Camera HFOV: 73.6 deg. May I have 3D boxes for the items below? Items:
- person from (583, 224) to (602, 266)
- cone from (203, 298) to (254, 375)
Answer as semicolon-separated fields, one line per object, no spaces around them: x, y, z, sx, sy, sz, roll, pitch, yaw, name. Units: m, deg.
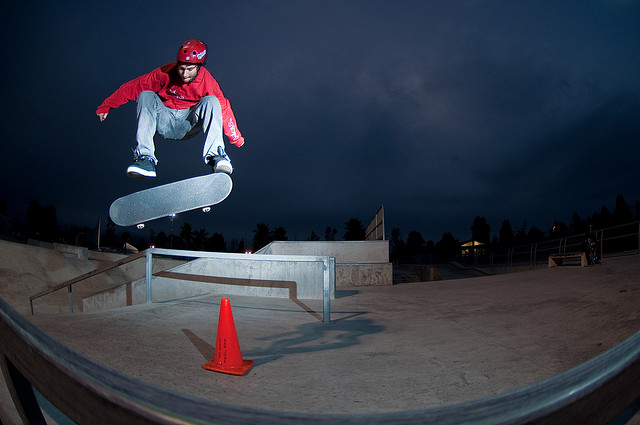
6.012;0.692;9.436;0.326;0.862;1.278;1;1;32;person
-0.814;1.065;3.733;0.426;0.590;0.317;0;1;0;cone
